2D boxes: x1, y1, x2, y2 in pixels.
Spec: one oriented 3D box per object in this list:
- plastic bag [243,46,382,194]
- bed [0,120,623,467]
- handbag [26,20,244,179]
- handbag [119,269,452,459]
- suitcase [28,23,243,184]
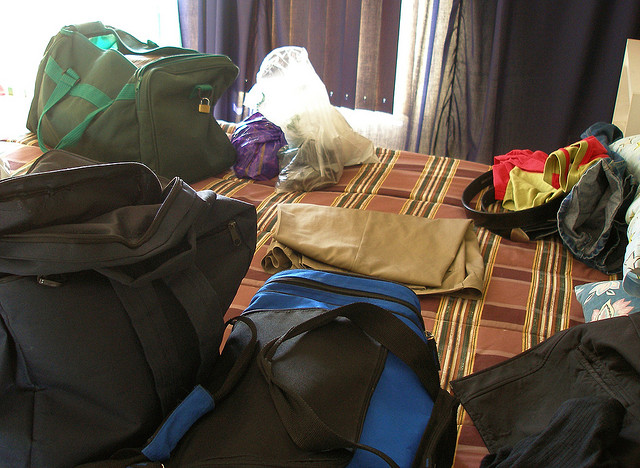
[{"bbox_3d":[-0.041,-0.453,2.041,0.419,0.508,0.440,-2,27,11],"label":"plastic bag"},{"bbox_3d":[0.166,-0.024,1.746,1.065,0.397,1.620,-5,21,-17],"label":"bed"},{"bbox_3d":[-0.634,-0.471,1.952,0.734,0.464,0.594,22,23,24],"label":"handbag"},{"bbox_3d":[-0.014,0.237,1.036,0.334,0.140,0.363,1,29,10],"label":"handbag"},{"bbox_3d":[-0.612,-0.455,1.972,0.737,0.463,0.606,18,23,30],"label":"suitcase"}]
